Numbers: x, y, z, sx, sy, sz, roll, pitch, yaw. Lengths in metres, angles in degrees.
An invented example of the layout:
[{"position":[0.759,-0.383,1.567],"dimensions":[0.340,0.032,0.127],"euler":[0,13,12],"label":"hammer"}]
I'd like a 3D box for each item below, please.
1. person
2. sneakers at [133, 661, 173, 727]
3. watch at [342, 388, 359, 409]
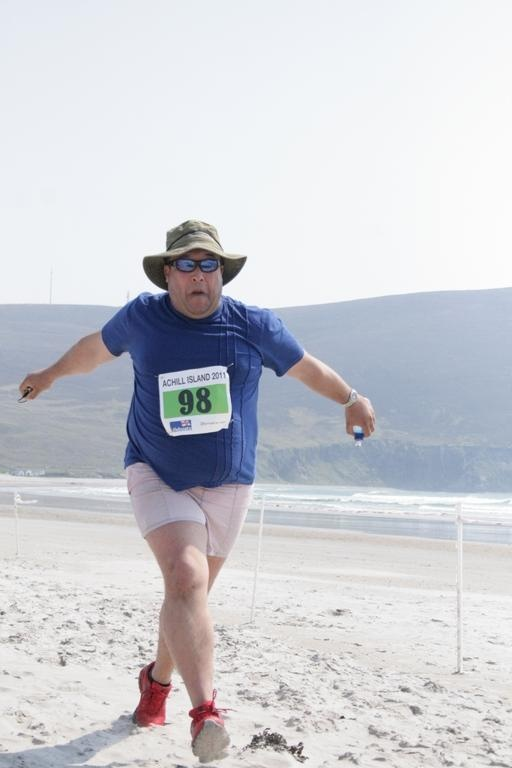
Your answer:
[{"position":[-0.246,0.309,2.804],"dimensions":[1.035,1.854,0.874],"euler":[-2,-8,36],"label":"person"},{"position":[-0.414,1.229,2.963],"dimensions":[0.121,0.320,0.150],"euler":[24,-43,-34],"label":"sneakers"},{"position":[0.378,0.055,2.887],"dimensions":[0.059,0.044,0.061],"euler":[-30,13,50],"label":"watch"}]
